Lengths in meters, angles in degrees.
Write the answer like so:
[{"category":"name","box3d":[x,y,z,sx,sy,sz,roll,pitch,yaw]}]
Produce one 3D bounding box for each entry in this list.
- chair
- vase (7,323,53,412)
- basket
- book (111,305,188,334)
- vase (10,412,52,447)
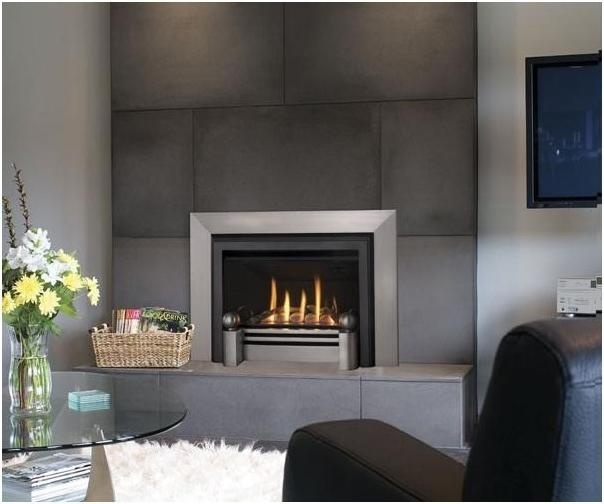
[{"category":"chair","box3d":[0.319,0.390,1.317,0.269,0.464,0.725,4,-8,-40]},{"category":"vase","box3d":[-0.939,0.402,1.953,0.135,0.288,0.158,2,-6,-26]},{"category":"basket","box3d":[-0.898,0.483,3.167,0.376,0.189,0.280,1,-5,1]},{"category":"book","box3d":[-0.853,0.385,3.222,0.243,0.106,0.200,2,-5,7]},{"category":"vase","box3d":[-0.835,0.542,1.743,0.082,0.101,0.092,1,-6,-9]}]
